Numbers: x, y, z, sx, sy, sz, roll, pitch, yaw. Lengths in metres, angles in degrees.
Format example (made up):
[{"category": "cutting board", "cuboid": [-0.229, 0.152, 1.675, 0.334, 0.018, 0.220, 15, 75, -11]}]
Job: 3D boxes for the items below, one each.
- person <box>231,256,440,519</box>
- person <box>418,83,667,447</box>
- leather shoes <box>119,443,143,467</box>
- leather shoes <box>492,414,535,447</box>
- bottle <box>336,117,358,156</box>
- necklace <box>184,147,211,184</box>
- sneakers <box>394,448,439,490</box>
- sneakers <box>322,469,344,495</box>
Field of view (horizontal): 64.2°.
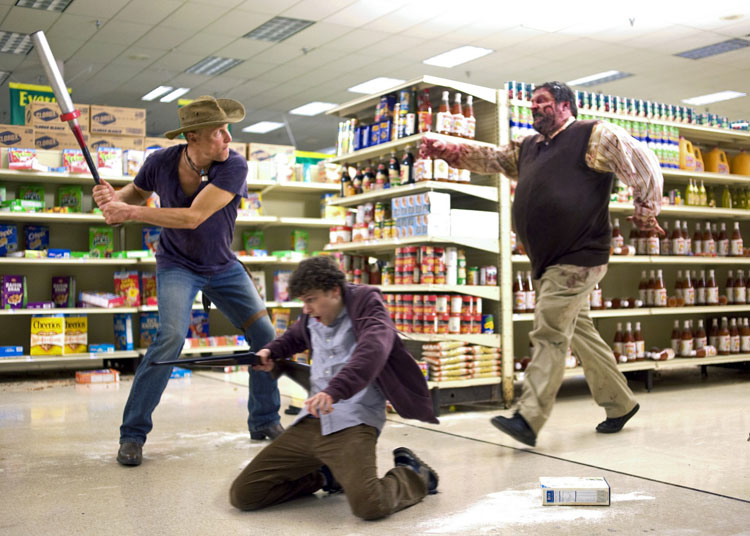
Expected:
[{"category": "person", "cuboid": [-0.183, 0.659, 3.220, 1.000, 0.985, 0.880, -20, -32, 38]}, {"category": "person", "cuboid": [1.162, -0.058, 3.880, 1.177, 2.329, 0.692, -1, -1, 5]}, {"category": "leather shoes", "cuboid": [-1.374, 1.047, 3.378, 0.140, 0.118, 0.147, 0, -1, -36]}, {"category": "leather shoes", "cuboid": [0.841, 0.987, 3.631, 0.269, 0.212, 0.120, -1, -1, 6]}, {"category": "bottle", "cuboid": [-0.198, -1.196, 5.482, 0.299, 0.330, 0.096, -4, -14, 40]}, {"category": "necklace", "cuboid": [-1.047, -0.602, 3.526, 0.061, 0.200, 0.147, -35, 24, -23]}, {"category": "sneakers", "cuboid": [0.200, 1.001, 2.965, 0.230, 0.081, 0.108, 39, 11, 27]}, {"category": "sneakers", "cuboid": [-0.218, 1.074, 2.988, 0.071, 0.075, 0.207, 3, -5, -44]}]
